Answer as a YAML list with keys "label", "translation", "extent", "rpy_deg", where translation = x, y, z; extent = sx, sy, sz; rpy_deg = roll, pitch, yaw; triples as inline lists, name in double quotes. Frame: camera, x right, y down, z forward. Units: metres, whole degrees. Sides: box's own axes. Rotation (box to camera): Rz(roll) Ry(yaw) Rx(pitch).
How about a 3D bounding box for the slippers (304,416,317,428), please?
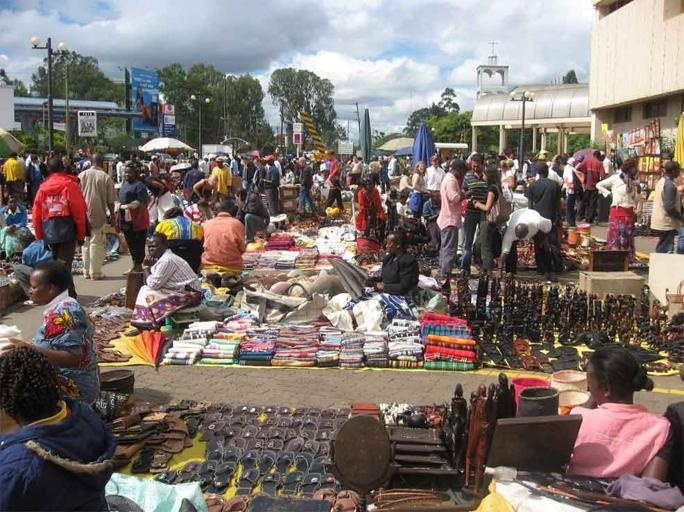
- label: "slippers"
  translation: [-0.332, 1.661, 6.152]
  extent: [0.126, 0.038, 0.154]
  rpy_deg: [-2, 10, -2]

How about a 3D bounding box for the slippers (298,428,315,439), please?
- label: "slippers"
  translation: [-0.341, 1.720, 5.987]
  extent: [0.166, 0.030, 0.175]
  rpy_deg: [1, 10, 11]

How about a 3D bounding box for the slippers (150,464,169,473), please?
- label: "slippers"
  translation: [-1.636, 1.894, 5.509]
  extent: [0.109, 0.036, 0.063]
  rpy_deg: [-2, 16, -13]

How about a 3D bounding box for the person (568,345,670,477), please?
- label: "person"
  translation: [2.140, 1.233, 4.933]
  extent: [0.713, 1.084, 0.654]
  rpy_deg: [-10, 13, -16]

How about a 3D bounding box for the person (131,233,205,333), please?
- label: "person"
  translation: [-2.481, 0.368, 8.662]
  extent: [0.923, 1.254, 0.866]
  rpy_deg: [-5, 0, -4]

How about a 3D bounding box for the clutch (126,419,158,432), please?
- label: "clutch"
  translation: [-1.938, 1.653, 5.989]
  extent: [0.204, 0.055, 0.263]
  rpy_deg: [3, 11, 22]

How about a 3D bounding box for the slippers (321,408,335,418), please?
- label: "slippers"
  translation: [-0.145, 1.600, 6.323]
  extent: [0.150, 0.021, 0.195]
  rpy_deg: [-1, 10, 2]

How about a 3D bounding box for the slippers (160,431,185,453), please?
- label: "slippers"
  translation: [-1.602, 1.767, 5.858]
  extent: [0.214, 0.099, 0.259]
  rpy_deg: [0, 10, 10]

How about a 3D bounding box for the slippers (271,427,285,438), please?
- label: "slippers"
  translation: [-0.626, 1.718, 6.006]
  extent: [0.148, 0.043, 0.211]
  rpy_deg: [-2, 10, -3]

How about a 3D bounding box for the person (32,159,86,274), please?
- label: "person"
  translation: [-4.473, -0.640, 9.797]
  extent: [0.783, 1.835, 0.601]
  rpy_deg: [-6, 10, -27]

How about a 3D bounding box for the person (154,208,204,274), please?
- label: "person"
  translation: [-2.693, -0.292, 10.168]
  extent: [0.735, 1.045, 0.630]
  rpy_deg: [-1, 5, -25]

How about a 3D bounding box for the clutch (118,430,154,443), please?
- label: "clutch"
  translation: [-1.973, 1.709, 5.858]
  extent: [0.328, 0.061, 0.142]
  rpy_deg: [-4, 10, -16]

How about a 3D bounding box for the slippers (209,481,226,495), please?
- label: "slippers"
  translation: [-1.079, 1.985, 5.333]
  extent: [0.165, 0.056, 0.167]
  rpy_deg: [1, 10, 13]

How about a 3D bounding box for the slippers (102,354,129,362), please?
- label: "slippers"
  translation: [-2.858, 1.287, 7.772]
  extent: [0.294, 0.089, 0.120]
  rpy_deg: [-1, 5, -5]

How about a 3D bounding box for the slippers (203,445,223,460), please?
- label: "slippers"
  translation: [-1.189, 1.823, 5.728]
  extent: [0.148, 0.047, 0.181]
  rpy_deg: [-4, 10, -13]

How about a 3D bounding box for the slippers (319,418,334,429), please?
- label: "slippers"
  translation: [-0.157, 1.659, 6.121]
  extent: [0.152, 0.031, 0.164]
  rpy_deg: [0, 10, 6]

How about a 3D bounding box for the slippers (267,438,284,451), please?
- label: "slippers"
  translation: [-0.638, 1.776, 5.846]
  extent: [0.153, 0.034, 0.192]
  rpy_deg: [-1, 10, 4]

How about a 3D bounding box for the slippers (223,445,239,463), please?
- label: "slippers"
  translation: [-1.027, 1.828, 5.711]
  extent: [0.173, 0.054, 0.219]
  rpy_deg: [-1, 10, 4]

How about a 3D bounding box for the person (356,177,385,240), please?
- label: "person"
  translation: [0.520, -0.896, 11.856]
  extent: [0.580, 1.213, 0.842]
  rpy_deg: [-1, 9, 1]

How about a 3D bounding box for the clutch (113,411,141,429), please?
- label: "clutch"
  translation: [-2.082, 1.596, 6.011]
  extent: [0.124, 0.055, 0.158]
  rpy_deg: [-2, 8, 11]

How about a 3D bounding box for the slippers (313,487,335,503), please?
- label: "slippers"
  translation: [-0.150, 1.962, 5.095]
  extent: [0.190, 0.065, 0.263]
  rpy_deg: [-2, 10, -4]

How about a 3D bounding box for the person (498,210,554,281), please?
- label: "person"
  translation: [3.166, -0.265, 10.626]
  extent: [0.608, 1.068, 1.177]
  rpy_deg: [6, 12, 38]

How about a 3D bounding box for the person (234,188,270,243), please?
- label: "person"
  translation: [-2.220, -0.934, 14.725]
  extent: [0.795, 1.343, 0.822]
  rpy_deg: [-8, 2, 11]

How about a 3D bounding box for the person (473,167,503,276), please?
- label: "person"
  translation: [2.457, -0.620, 10.450]
  extent: [0.467, 1.732, 0.569]
  rpy_deg: [0, 9, 9]

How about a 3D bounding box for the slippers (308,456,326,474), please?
- label: "slippers"
  translation: [-0.226, 1.850, 5.539]
  extent: [0.142, 0.074, 0.218]
  rpy_deg: [-1, 10, 3]

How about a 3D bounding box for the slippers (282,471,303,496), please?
- label: "slippers"
  translation: [-0.439, 1.953, 5.338]
  extent: [0.073, 0.041, 0.230]
  rpy_deg: [4, 21, 6]

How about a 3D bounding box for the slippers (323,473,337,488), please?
- label: "slippers"
  translation: [-0.122, 1.932, 5.320]
  extent: [0.120, 0.055, 0.203]
  rpy_deg: [-4, 10, -12]

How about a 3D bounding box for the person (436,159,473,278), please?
- label: "person"
  translation: [1.920, -0.591, 10.678]
  extent: [0.588, 2.135, 0.689]
  rpy_deg: [-1, 17, -1]

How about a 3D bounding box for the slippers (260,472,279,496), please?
- label: "slippers"
  translation: [-0.623, 1.962, 5.331]
  extent: [0.175, 0.065, 0.283]
  rpy_deg: [-3, 10, -9]
